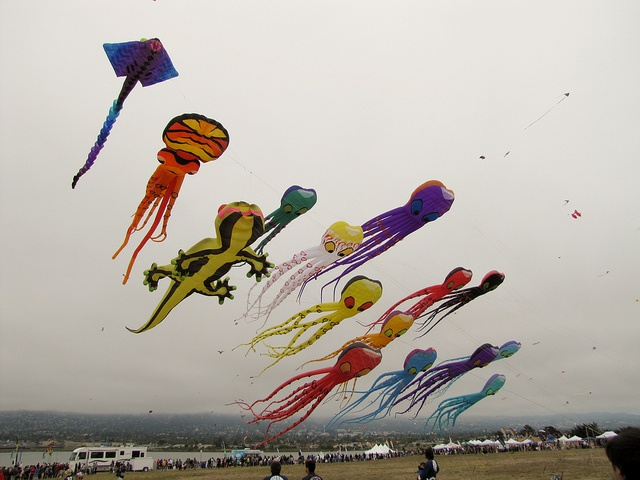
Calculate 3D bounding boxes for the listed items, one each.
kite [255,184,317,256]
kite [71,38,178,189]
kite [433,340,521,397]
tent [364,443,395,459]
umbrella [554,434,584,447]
[{"bbox_3d":[-2.311,-1.489,32.536,2.950,4.524,3.268,5,-1,33],"label":"kite"},{"bbox_3d":[-9.793,-7.580,29.986,4.406,4.491,1.915,-13,-16,4],"label":"kite"},{"bbox_3d":[10.248,8.689,39.991,6.417,2.275,2.163,-14,-16,7],"label":"kite"},{"bbox_3d":[4.906,17.896,49.402,1.607,0.671,1.648,8,-31,-17],"label":"tent"},{"bbox_3d":[22.394,18.045,52.388,1.744,1.026,1.797,-11,-19,27],"label":"umbrella"}]
